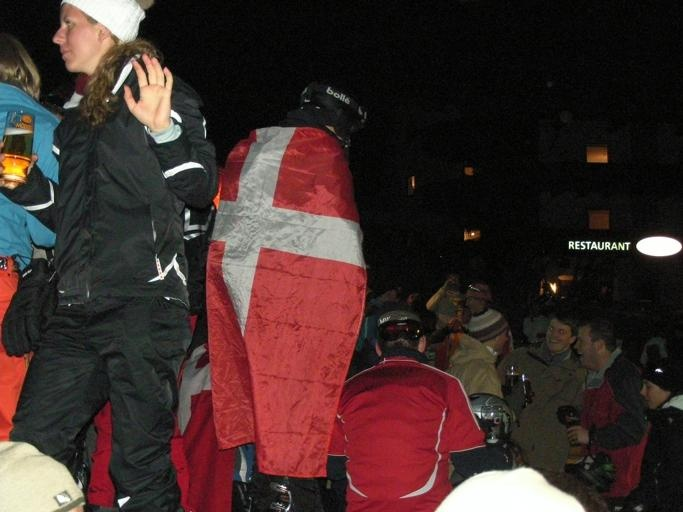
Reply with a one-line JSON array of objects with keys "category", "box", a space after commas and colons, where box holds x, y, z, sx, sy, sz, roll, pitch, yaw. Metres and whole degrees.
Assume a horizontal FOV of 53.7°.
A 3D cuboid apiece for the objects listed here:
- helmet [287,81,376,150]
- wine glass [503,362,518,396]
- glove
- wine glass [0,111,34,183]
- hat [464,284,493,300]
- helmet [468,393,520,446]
[{"category": "helmet", "box": [-0.037, -0.709, 3.350, 0.288, 0.282, 0.368, 29, 8, 41]}, {"category": "wine glass", "box": [1.386, 1.015, 5.510, 0.123, 0.248, 0.236, 3, -11, 14]}, {"category": "glove", "box": [-1.385, 0.200, 3.073, 0.256, 0.440, 0.128, 0, -25, 23]}, {"category": "wine glass", "box": [-1.459, -0.497, 3.060, 0.138, 0.339, 0.144, 12, -13, -30]}, {"category": "hat", "box": [1.461, 0.368, 7.195, 0.257, 0.214, 0.281, 4, -11, 10]}, {"category": "helmet", "box": [0.890, 0.929, 4.073, 0.345, 0.320, 0.277, -3, 5, -22]}]
